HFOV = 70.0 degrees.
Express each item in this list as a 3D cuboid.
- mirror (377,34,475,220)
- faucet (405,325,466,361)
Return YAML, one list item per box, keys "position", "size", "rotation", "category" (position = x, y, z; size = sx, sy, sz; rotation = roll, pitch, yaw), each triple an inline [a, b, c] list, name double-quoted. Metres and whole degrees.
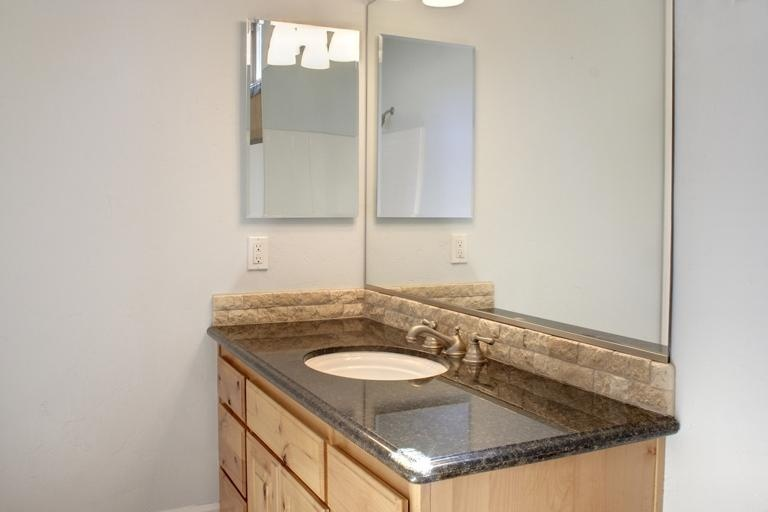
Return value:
- position: [0.175, -0.525, 2.387]
  size: [0.469, 0.721, 0.028]
  rotation: [1, 4, 27]
  category: "mirror"
- position: [0.200, 0.317, 2.061]
  size: [0.222, 0.093, 0.105]
  rotation: [5, -5, -27]
  category: "faucet"
